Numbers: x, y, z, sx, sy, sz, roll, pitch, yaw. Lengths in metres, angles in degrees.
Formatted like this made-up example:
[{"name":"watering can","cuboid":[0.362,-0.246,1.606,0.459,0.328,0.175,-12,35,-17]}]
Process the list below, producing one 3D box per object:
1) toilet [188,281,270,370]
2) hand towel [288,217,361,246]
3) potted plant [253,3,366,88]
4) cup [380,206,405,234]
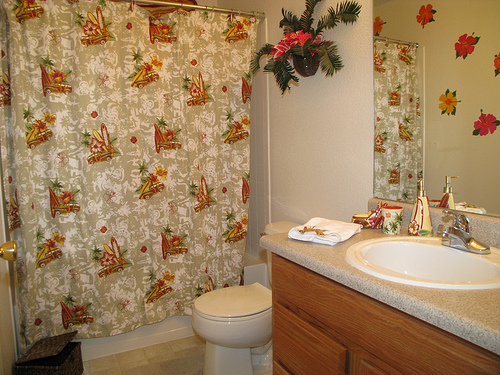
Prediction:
[{"name":"toilet","cuboid":[-0.135,0.807,2.318,0.460,0.440,0.371,-1,5,-29]},{"name":"hand towel","cuboid":[0.350,0.189,1.791,0.257,0.048,0.308,7,13,35]},{"name":"potted plant","cuboid":[0.251,-0.856,2.355,0.444,0.527,0.873,-5,11,-19]},{"name":"cup","cuboid":[0.649,0.146,1.784,0.103,0.123,0.104,-1,4,0]}]
